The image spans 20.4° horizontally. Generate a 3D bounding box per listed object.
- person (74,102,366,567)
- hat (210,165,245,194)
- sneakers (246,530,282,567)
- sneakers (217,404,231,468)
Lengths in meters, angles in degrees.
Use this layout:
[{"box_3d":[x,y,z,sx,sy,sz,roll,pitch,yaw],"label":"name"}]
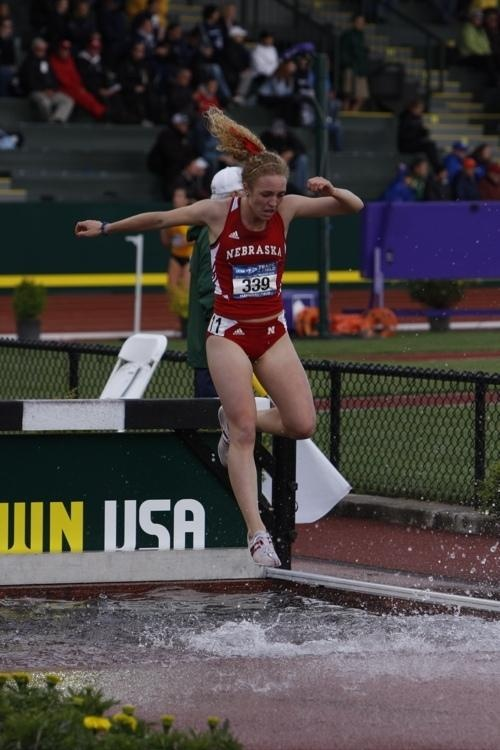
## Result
[{"box_3d":[-0.029,-0.124,5.802,1.017,1.997,0.673,-2,6,-29],"label":"person"},{"box_3d":[-0.100,-0.946,6.754,0.128,0.099,0.169,-33,19,-36],"label":"hat"},{"box_3d":[0.049,0.718,5.683,0.116,0.177,0.227,1,5,-1],"label":"sneakers"},{"box_3d":[-0.119,0.283,6.085,0.068,0.228,0.090,-4,14,-6],"label":"sneakers"}]
